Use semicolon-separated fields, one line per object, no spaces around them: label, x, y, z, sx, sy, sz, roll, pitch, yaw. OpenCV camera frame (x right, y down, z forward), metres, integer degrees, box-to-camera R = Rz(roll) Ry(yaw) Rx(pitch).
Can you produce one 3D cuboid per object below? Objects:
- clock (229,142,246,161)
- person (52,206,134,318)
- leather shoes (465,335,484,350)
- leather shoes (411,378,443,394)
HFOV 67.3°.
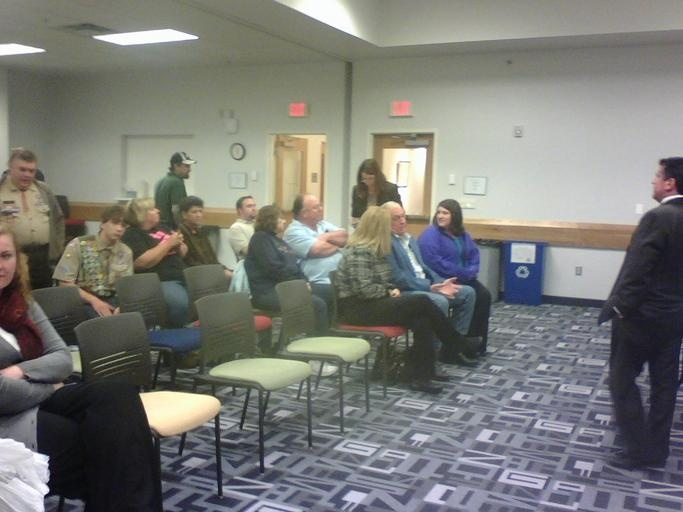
clock;-1.817;-1.824;8.895;0.312;0.293;0.070;3;1;22
person;-1.926;0.057;4.112;0.593;0.883;0.661;14;9;28
leather shoes;1.181;0.773;4.633;0.177;0.146;0.293;-1;-10;-2
leather shoes;0.687;1.057;4.190;0.201;0.075;0.103;1;3;32
